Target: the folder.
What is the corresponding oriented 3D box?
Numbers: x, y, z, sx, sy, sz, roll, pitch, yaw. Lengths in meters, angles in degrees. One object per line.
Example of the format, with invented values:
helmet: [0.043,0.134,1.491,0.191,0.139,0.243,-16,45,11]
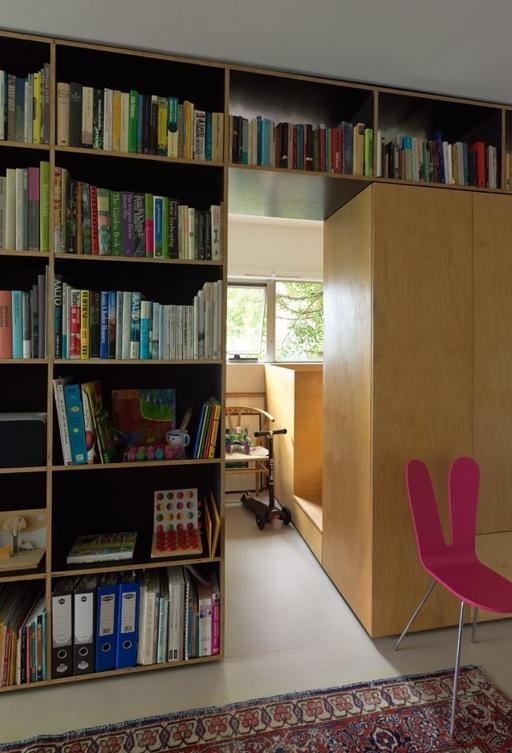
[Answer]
folder: [-0.595,0.931,2.224,0.322,0.328,0.060,-2,6,-12]
